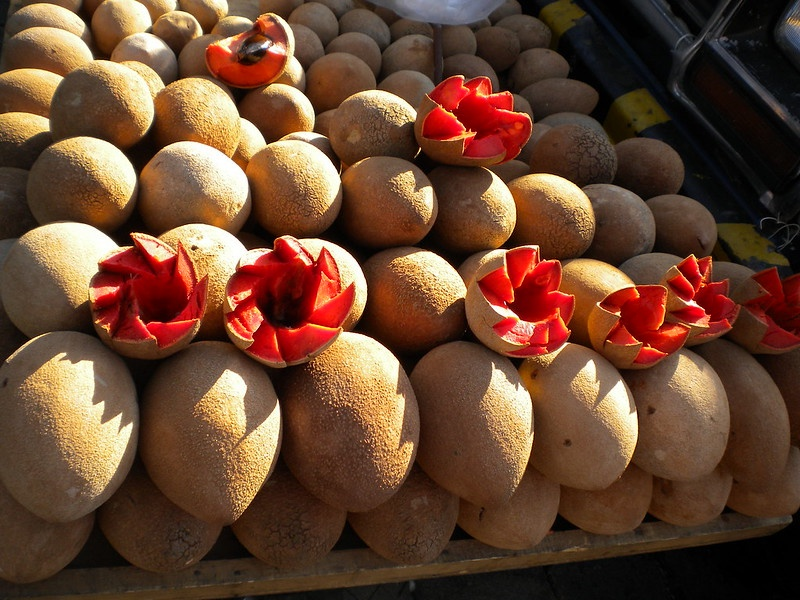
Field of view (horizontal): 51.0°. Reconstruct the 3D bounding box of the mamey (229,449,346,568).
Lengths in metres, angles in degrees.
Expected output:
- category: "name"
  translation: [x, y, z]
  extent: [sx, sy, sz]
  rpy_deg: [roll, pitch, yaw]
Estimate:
- category: "mamey"
  translation: [-0.218, 0.436, 1.633]
  extent: [0.147, 0.124, 0.240]
  rpy_deg: [-13, 92, 0]
